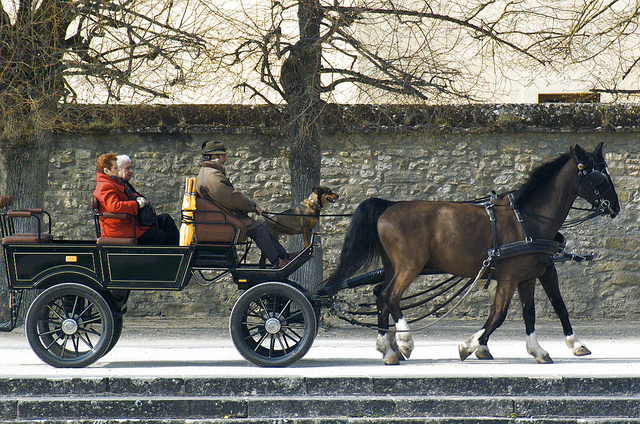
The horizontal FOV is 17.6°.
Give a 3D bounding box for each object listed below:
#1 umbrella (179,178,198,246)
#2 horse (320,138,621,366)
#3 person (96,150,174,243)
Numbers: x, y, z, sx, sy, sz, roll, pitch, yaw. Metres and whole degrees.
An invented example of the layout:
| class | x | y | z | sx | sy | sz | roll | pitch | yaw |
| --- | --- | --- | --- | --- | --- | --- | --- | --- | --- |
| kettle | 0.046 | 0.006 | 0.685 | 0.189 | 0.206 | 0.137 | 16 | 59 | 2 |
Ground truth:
| class | x | y | z | sx | sy | sz | roll | pitch | yaw |
| --- | --- | --- | --- | --- | --- | --- | --- | --- | --- |
| umbrella | -2.128 | -0.002 | 33.235 | 0.322 | 1.068 | 0.198 | -2 | 3 | -16 |
| horse | 2.478 | 0.728 | 33.963 | 5.326 | 3.077 | 1.478 | -4 | 1 | 23 |
| person | -3.150 | -0.233 | 33.378 | 0.946 | 1.397 | 0.583 | -1 | 3 | -10 |
